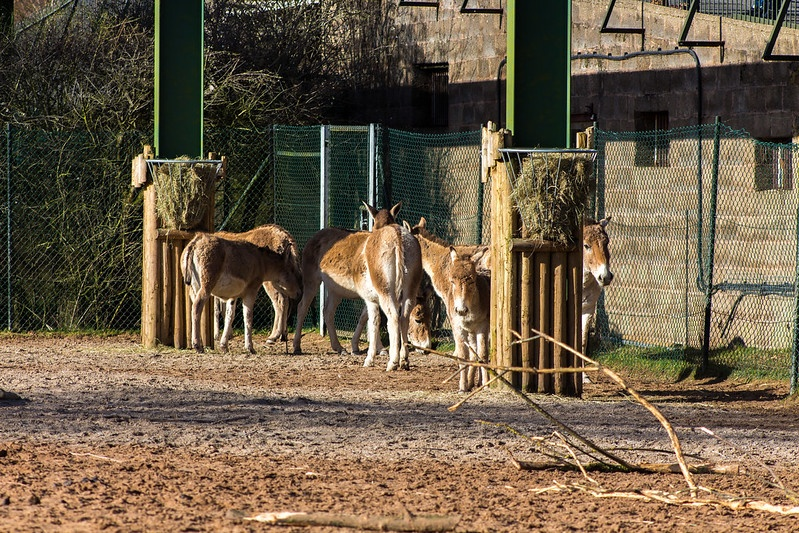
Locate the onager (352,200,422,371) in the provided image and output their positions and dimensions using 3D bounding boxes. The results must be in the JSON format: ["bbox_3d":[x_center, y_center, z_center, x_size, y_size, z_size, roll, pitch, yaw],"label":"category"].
[{"bbox_3d":[-0.306,0.262,24.163,0.767,2.881,3.273,-1,0,-11],"label":"onager"}]

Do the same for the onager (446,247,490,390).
[{"bbox_3d":[1.031,0.785,21.314,0.614,2.140,1.715,1,12,2],"label":"onager"}]

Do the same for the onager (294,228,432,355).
[{"bbox_3d":[-0.559,0.298,24.143,2.942,2.463,0.857,-2,-2,41],"label":"onager"}]

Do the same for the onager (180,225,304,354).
[{"bbox_3d":[-2.602,0.319,24.342,0.727,2.302,2.594,1,-3,38],"label":"onager"}]
